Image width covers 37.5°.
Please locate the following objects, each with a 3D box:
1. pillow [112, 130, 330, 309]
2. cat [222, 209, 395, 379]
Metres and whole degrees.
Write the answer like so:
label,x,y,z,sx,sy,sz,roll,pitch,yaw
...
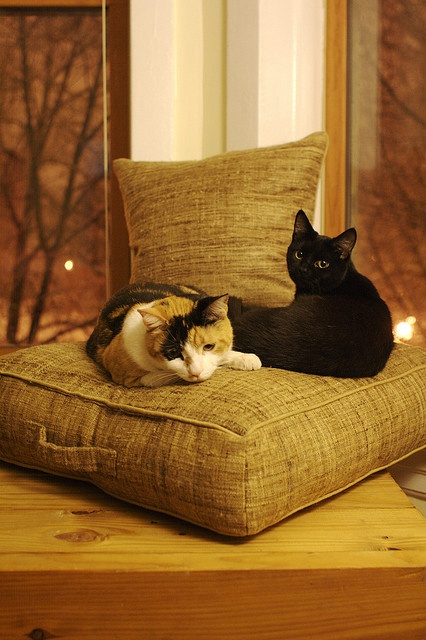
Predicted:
label,x,y,z,sx,sy,sz,roll,pitch,yaw
pillow,-0.035,-0.276,1.804,0.585,0.503,0.201,3,37,8
cat,0.218,-0.060,1.515,0.471,0.364,0.271,5,8,33
